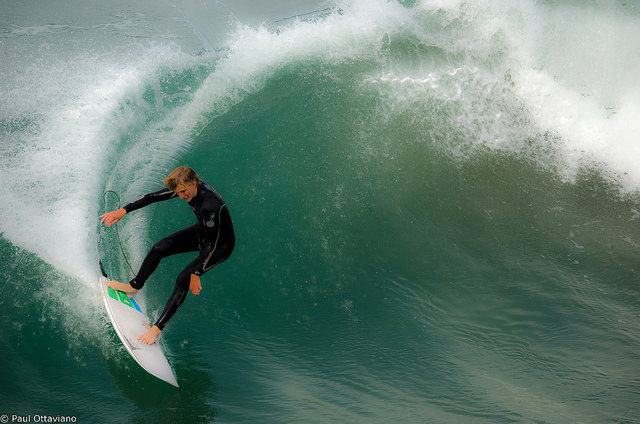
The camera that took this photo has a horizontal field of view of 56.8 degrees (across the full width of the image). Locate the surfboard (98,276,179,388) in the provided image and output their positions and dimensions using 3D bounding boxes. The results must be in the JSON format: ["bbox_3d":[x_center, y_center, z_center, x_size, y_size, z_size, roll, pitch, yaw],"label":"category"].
[{"bbox_3d":[-3.406,2.219,10.888,0.427,0.873,2.960,-46,65,22],"label":"surfboard"}]
